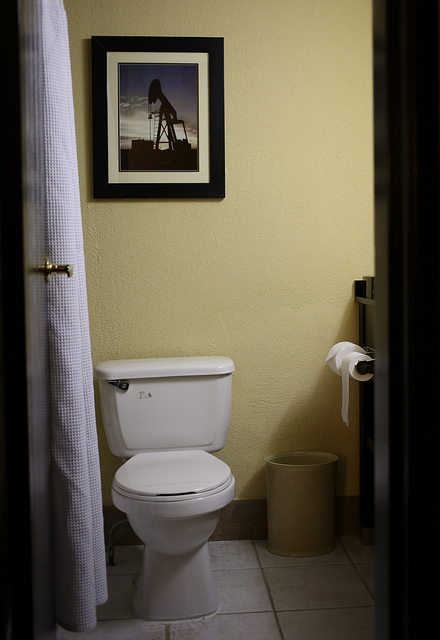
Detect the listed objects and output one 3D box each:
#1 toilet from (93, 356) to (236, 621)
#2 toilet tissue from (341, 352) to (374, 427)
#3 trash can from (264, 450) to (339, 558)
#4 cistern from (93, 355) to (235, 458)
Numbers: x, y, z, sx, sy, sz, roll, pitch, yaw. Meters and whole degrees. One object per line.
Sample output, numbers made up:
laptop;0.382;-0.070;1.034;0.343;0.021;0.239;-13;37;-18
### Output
toilet;-0.148;0.504;1.763;0.479;0.724;0.596;-1;1;-14
toilet tissue;0.449;0.216;1.771;0.116;0.220;0.143;1;-3;8
trash can;0.294;0.681;2.157;0.301;0.352;0.304;-2;3;-6
cistern;-0.195;0.293;2.024;0.523;0.383;0.323;-2;11;-10
